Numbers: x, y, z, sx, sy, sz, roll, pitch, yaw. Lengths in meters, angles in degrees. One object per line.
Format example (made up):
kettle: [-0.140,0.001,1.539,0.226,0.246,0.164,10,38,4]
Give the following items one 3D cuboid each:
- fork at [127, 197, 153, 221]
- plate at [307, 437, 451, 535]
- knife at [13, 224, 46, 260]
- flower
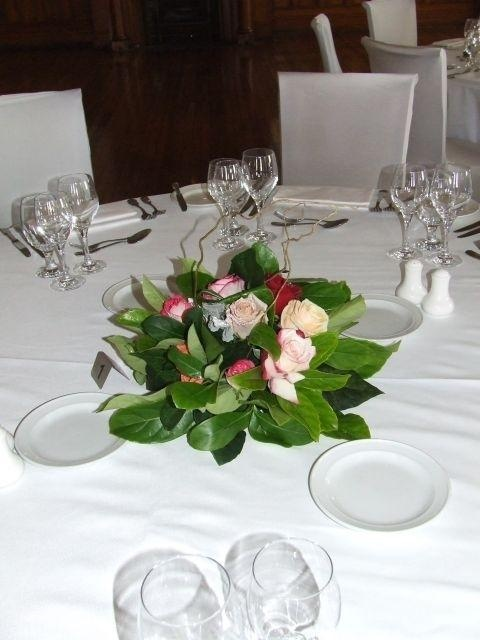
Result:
fork: [-0.272,-0.305,1.457,0.034,0.013,0.181,-21,37,-12]
plate: [0.150,0.168,0.571,0.139,0.031,0.120,-1,17,18]
knife: [-0.483,-0.178,1.226,0.017,0.020,0.147,-36,49,-12]
flower: [0.009,0.050,0.587,0.319,0.120,0.285,-6,55,-11]
